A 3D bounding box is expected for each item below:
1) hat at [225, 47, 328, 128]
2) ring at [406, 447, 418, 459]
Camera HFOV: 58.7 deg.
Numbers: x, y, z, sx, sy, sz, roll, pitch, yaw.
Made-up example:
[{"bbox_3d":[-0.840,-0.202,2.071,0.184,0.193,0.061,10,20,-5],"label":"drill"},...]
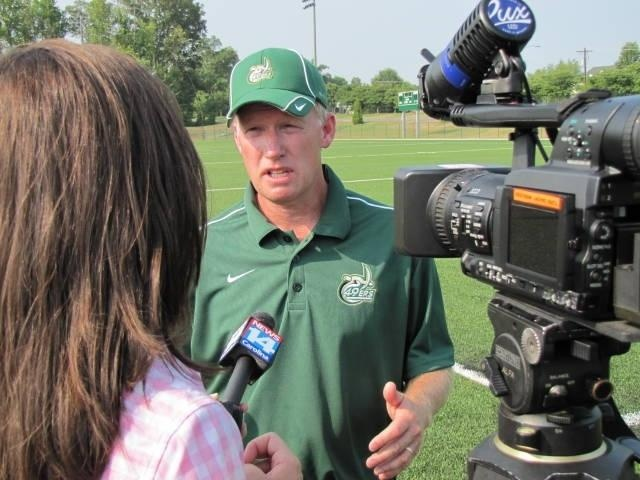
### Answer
[{"bbox_3d":[-0.198,-0.639,2.433,0.396,0.322,0.589,-6,6,10],"label":"hat"},{"bbox_3d":[0.334,0.787,2.080,0.029,0.013,0.043,5,18,-21],"label":"ring"}]
